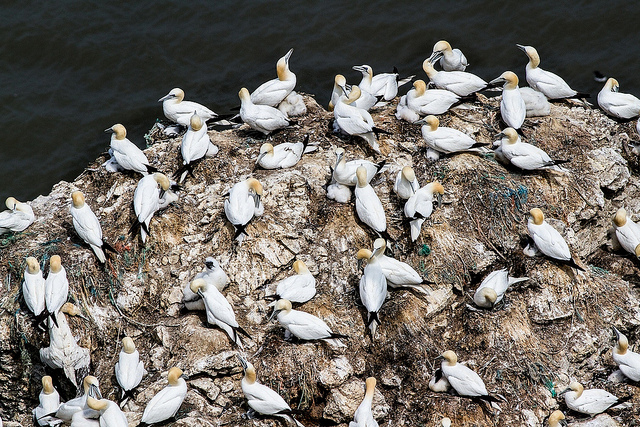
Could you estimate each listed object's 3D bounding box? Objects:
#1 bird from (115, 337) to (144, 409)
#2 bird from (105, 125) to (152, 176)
[{"bbox_3d":[-5.744,4.706,31.873,0.763,1.322,1.631,1,52,8],"label":"bird"},{"bbox_3d":[-6.443,-2.065,35.788,1.993,1.553,0.843,31,47,22],"label":"bird"}]
